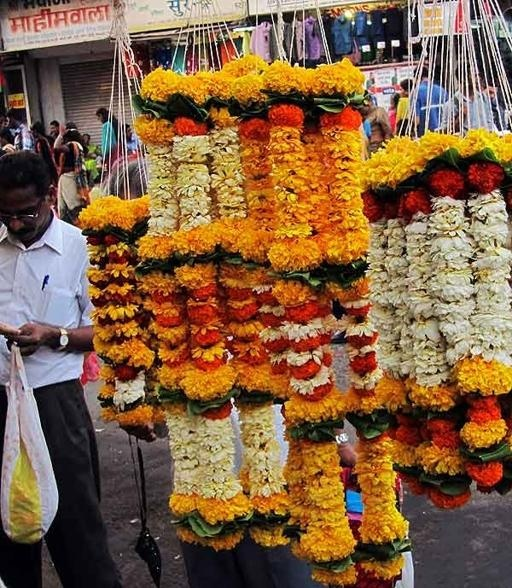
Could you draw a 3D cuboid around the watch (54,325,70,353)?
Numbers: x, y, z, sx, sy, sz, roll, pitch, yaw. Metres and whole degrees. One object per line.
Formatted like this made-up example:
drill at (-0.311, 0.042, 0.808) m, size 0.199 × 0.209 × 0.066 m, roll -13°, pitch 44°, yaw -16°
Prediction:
watch at (-0.710, 0.171, 2.894) m, size 0.050 × 0.090 × 0.063 m, roll -14°, pitch 15°, yaw -34°
